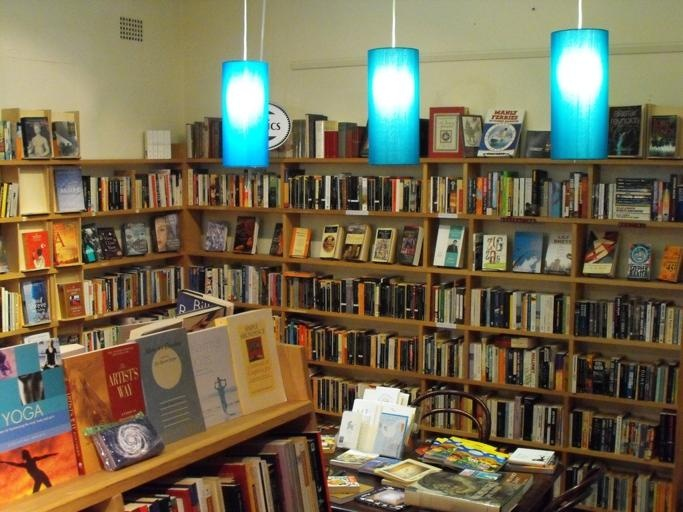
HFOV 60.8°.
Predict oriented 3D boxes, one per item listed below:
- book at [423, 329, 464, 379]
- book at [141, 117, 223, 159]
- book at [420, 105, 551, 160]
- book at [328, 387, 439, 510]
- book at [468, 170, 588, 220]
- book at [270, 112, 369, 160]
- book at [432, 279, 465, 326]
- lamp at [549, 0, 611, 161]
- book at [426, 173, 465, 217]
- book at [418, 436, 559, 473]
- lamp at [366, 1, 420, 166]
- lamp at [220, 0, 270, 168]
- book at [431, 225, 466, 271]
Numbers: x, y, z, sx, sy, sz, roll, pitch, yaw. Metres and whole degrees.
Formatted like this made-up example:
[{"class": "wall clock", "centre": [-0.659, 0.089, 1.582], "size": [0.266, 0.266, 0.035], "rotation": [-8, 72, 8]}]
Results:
[{"class": "book", "centre": [0.878, 0.873, 5.104], "size": [0.340, 0.437, 0.474], "rotation": [3, 3, 34]}, {"class": "book", "centre": [-1.592, -1.179, 5.871], "size": [0.766, 0.404, 0.439], "rotation": [-2, 9, -9]}, {"class": "book", "centre": [1.194, -1.042, 4.920], "size": [1.060, 0.429, 0.273], "rotation": [2, 10, 19]}, {"class": "book", "centre": [0.187, 1.004, 3.396], "size": [0.328, 0.444, 0.151], "rotation": [4, -22, 42]}, {"class": "book", "centre": [1.506, -0.510, 4.780], "size": [0.953, 0.373, 0.136], "rotation": [3, 10, 21]}, {"class": "book", "centre": [-0.188, -1.107, 5.422], "size": [0.960, 0.405, 0.243], "rotation": [4, 10, 28]}, {"class": "book", "centre": [0.925, 0.370, 5.188], "size": [0.309, 0.398, 0.423], "rotation": [3, 3, 10]}, {"class": "lamp", "centre": [0.985, -0.669, 2.425], "size": [0.234, 0.523, 0.123], "rotation": [3, 10, 20]}, {"class": "book", "centre": [0.909, -0.498, 5.052], "size": [0.293, 0.393, 0.404], "rotation": [2, 3, 20]}, {"class": "book", "centre": [0.884, 1.172, 3.450], "size": [0.574, 0.075, 0.323], "rotation": [6, 8, 35]}, {"class": "lamp", "centre": [0.233, -0.666, 2.584], "size": [0.220, 0.501, 0.141], "rotation": [-1, 9, 1]}, {"class": "lamp", "centre": [-0.457, -0.679, 2.794], "size": [0.225, 0.486, 0.112], "rotation": [-3, 9, -13]}, {"class": "book", "centre": [0.939, -0.074, 5.056], "size": [0.269, 0.362, 0.100], "rotation": [6, -5, 32]}]
